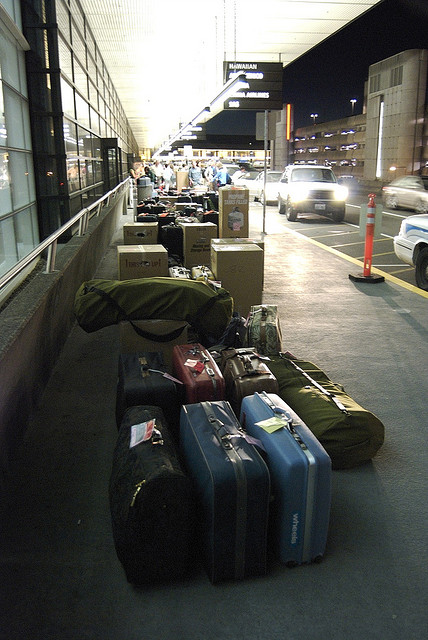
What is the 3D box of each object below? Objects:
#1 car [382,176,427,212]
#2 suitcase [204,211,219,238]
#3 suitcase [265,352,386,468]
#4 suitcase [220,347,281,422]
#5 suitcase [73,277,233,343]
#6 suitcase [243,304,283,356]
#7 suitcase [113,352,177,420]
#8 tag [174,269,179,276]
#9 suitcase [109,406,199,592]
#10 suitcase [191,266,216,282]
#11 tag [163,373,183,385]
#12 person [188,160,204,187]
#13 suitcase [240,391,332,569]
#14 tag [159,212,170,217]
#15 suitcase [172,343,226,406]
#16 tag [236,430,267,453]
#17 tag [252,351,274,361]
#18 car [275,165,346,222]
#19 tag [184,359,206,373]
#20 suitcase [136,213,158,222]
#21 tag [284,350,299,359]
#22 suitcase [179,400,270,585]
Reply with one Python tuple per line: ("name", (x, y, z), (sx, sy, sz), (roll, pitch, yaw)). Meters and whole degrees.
("car", (9.072, -6.008, 20.395), (1.087, 1.150, 2.290), (-3, 20, -4))
("suitcase", (-0.070, -2.128, 9.265), (0.276, 0.518, 0.860), (1, 8, 5))
("suitcase", (0.821, 0.688, 3.578), (0.542, 0.426, 1.317), (-3, 16, -13))
("suitcase", (0.247, 0.563, 3.225), (0.378, 0.419, 0.557), (-2, 18, -10))
("suitcase", (-0.577, -0.115, 4.166), (1.433, 0.553, 1.032), (3, 5, -11))
("suitcase", (0.494, 0.082, 4.171), (0.330, 0.493, 0.495), (-1, 6, 10))
("suitcase", (-0.476, 0.232, 3.023), (0.387, 0.534, 0.745), (0, 24, -8))
("tag", (-0.465, -0.584, 5.299), (0.050, 0.063, 0.233), (-1, 8, -9))
("suitcase", (-0.353, 0.807, 2.181), (0.332, 0.574, 0.828), (1, 12, -16))
("suitcase", (-0.163, -0.615, 5.667), (0.209, 0.150, 0.374), (1, 15, -8))
("tag", (-0.296, 0.405, 2.995), (0.160, 0.016, 0.054), (31, 7, 5))
("person", (-1.053, -8.249, 24.285), (0.774, 1.595, 1.940), (0, 8, -4))
("suitcase", (0.357, 0.805, 2.357), (0.274, 0.601, 0.802), (-1, 12, -14))
("tag", (-1.073, -2.276, 9.228), (0.151, 0.059, 0.523), (3, 15, -3))
("suitcase", (-0.125, 0.489, 3.321), (0.243, 0.520, 0.739), (-7, 20, -15))
("tag", (0.177, 0.585, 2.084), (0.166, 0.024, 0.048), (41, 4, 28))
("tag", (0.414, 0.313, 3.692), (0.137, 0.057, 0.044), (20, 54, 4))
("car", (4.230, -5.781, 19.154), (2.286, 2.883, 3.409), (-1, 8, -11))
("tag", (-0.138, 0.341, 3.158), (0.095, 0.031, 0.078), (14, 35, 18))
("suitcase", (-1.422, -2.159, 9.061), (0.455, 0.160, 0.330), (0, 8, -7))
("tag", (0.737, 0.356, 4.153), (0.152, 0.068, 0.050), (24, 14, -7))
("suitcase", (0.045, 0.815, 1.937), (0.178, 0.410, 0.560), (-3, 16, -9))
